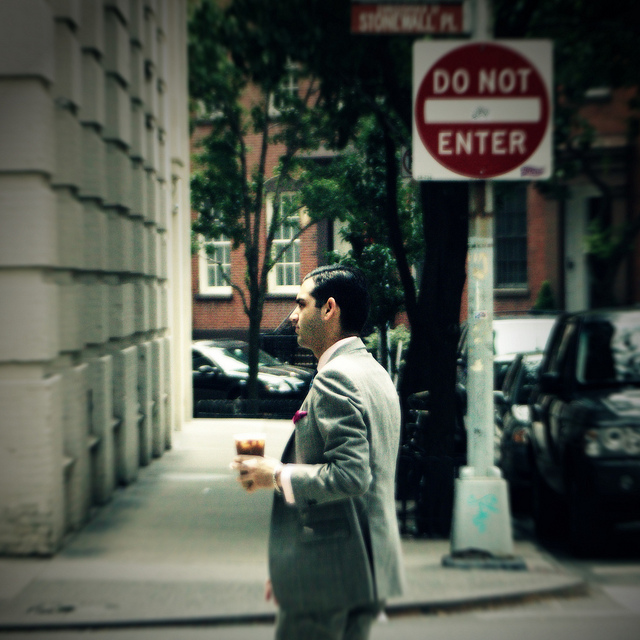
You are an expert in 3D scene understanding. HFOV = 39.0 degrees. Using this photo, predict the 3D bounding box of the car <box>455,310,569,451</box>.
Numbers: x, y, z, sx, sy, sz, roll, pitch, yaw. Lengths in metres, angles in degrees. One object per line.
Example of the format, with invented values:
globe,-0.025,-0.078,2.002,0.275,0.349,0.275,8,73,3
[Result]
car,2.015,0.475,10.216,0.955,1.149,1.901,3,-15,-16

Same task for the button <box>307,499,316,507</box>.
button,-0.036,0.758,3.765,0.027,0.029,0.023,-9,-5,24

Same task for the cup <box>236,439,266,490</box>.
cup,-0.319,0.655,4.119,0.150,0.206,0.179,-1,-18,4

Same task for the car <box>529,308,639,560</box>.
car,2.259,0.934,7.472,0.762,1.971,1.440,0,4,-2

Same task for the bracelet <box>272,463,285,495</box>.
bracelet,-0.176,0.685,3.885,0.022,0.099,0.073,0,4,34

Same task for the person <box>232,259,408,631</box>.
person,0.034,0.566,3.956,0.675,1.579,0.512,1,4,3

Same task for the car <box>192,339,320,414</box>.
car,-1.242,0.995,15.197,2.304,0.968,1.277,-2,0,19
